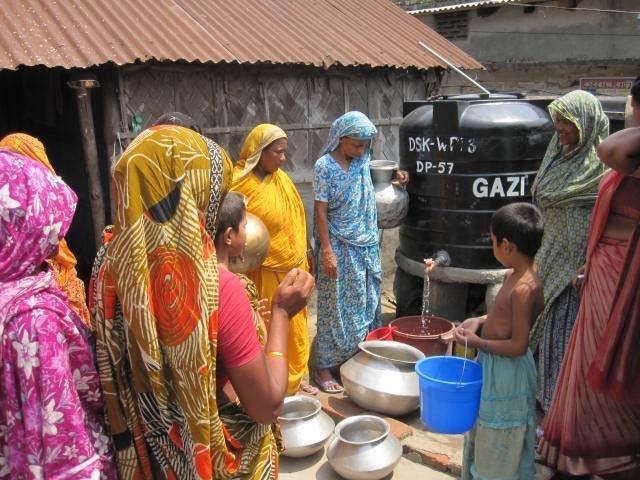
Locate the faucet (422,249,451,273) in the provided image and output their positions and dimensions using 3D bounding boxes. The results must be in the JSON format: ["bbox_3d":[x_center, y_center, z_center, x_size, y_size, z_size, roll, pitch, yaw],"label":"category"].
[{"bbox_3d":[0.996,0.147,6.674,0.235,0.110,0.139,-24,40,-36],"label":"faucet"}]

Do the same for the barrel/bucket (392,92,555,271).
[{"bbox_3d":[1.453,-0.513,7.127,1.351,1.641,1.406,0,6,0],"label":"barrel/bucket"}]

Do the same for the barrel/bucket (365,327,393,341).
[{"bbox_3d":[0.488,0.775,6.358,0.163,0.079,0.110,-11,7,-26],"label":"barrel/bucket"}]

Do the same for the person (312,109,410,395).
[{"bbox_3d":[0.229,0.083,6.318,0.625,2.250,0.473,-2,10,-9],"label":"person"}]

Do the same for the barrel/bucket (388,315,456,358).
[{"bbox_3d":[0.845,0.765,6.372,0.341,0.298,0.377,-3,7,-24],"label":"barrel/bucket"}]

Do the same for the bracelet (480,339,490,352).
[{"bbox_3d":[1.008,0.640,4.716,0.058,0.064,0.061,9,22,27],"label":"bracelet"}]

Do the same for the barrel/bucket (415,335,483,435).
[{"bbox_3d":[0.805,0.903,4.880,0.454,0.518,0.453,-1,1,0],"label":"barrel/bucket"}]

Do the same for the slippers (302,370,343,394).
[{"bbox_3d":[0.015,1.161,6.321,0.139,0.171,0.406,0,-6,-34],"label":"slippers"}]
